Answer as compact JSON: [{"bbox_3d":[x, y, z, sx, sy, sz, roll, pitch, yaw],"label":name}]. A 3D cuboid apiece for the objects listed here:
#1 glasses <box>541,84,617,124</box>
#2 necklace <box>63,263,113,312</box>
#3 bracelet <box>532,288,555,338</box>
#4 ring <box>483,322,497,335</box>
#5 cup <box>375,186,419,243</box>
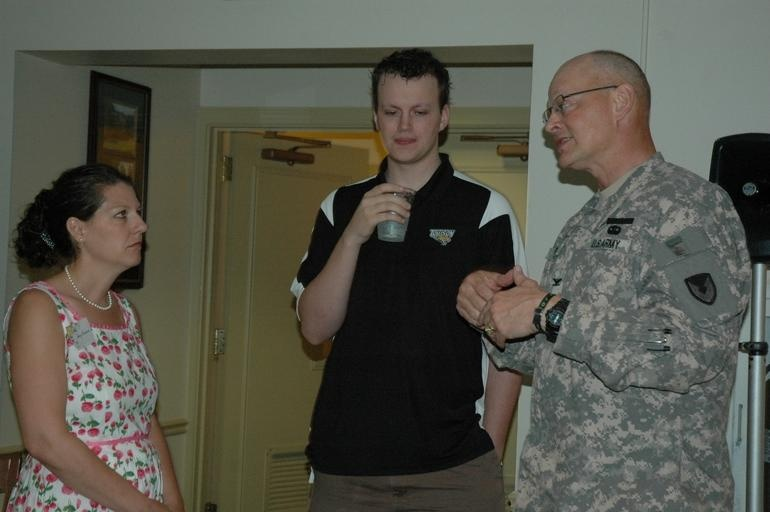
[{"bbox_3d":[0.711,-0.575,2.546,0.151,0.039,0.144,-14,-7,0],"label":"glasses"},{"bbox_3d":[-1.220,0.138,2.800,0.014,0.198,0.156,-30,20,23],"label":"necklace"},{"bbox_3d":[0.542,0.193,2.273,0.037,0.109,0.097,7,25,29],"label":"bracelet"},{"bbox_3d":[0.370,0.258,2.460,0.038,0.037,0.011,-4,6,40],"label":"ring"},{"bbox_3d":[0.037,-0.152,2.701,0.142,0.187,0.164,0,-2,-2],"label":"cup"}]
